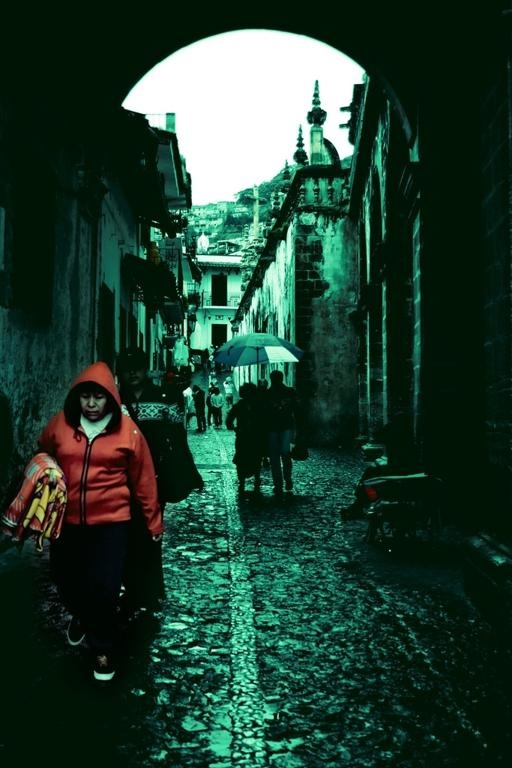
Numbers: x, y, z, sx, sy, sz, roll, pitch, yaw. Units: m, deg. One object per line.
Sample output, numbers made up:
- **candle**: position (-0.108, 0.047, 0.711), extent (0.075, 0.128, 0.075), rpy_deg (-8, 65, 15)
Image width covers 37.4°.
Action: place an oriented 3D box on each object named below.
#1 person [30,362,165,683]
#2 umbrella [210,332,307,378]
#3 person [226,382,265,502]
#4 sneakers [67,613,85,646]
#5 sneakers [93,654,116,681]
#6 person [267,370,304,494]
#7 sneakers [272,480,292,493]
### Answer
- **person**: position (-0.692, 0.537, 3.214), extent (0.428, 1.254, 0.505), rpy_deg (0, -2, 18)
- **umbrella**: position (-0.044, -0.485, 10.423), extent (1.208, 0.491, 0.877), rpy_deg (-1, -3, 44)
- **person**: position (-0.128, 0.666, 9.097), extent (0.526, 1.354, 0.438), rpy_deg (0, -2, 22)
- **sneakers**: position (-0.772, 1.087, 3.269), extent (0.085, 0.053, 0.185), rpy_deg (7, 20, -19)
- **sneakers**: position (-0.596, 1.105, 2.963), extent (0.081, 0.103, 0.160), rpy_deg (1, -2, -11)
- **person**: position (0.332, 0.583, 9.085), extent (0.415, 1.514, 0.947), rpy_deg (0, -2, 4)
- **sneakers**: position (0.312, 1.238, 8.869), extent (0.239, 0.177, 0.260), rpy_deg (-2, 2, -5)
